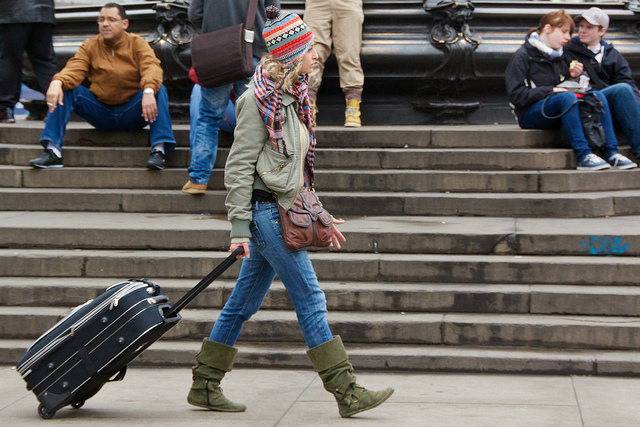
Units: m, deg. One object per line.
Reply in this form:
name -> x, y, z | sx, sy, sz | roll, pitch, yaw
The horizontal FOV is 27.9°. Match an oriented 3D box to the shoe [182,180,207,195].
shoe -> -1.500, -0.317, 15.407 | 0.289, 0.168, 0.130 | 6, 5, 7

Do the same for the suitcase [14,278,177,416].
suitcase -> -2.217, 1.395, 12.945 | 1.734, 0.733, 1.152 | -39, -9, 5

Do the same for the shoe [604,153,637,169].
shoe -> 3.681, -0.640, 15.765 | 0.396, 0.143, 0.156 | 2, 8, 16

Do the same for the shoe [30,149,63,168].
shoe -> -3.324, -0.688, 15.878 | 0.187, 0.221, 0.497 | 8, 11, 43

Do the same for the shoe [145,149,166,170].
shoe -> -2.018, -0.674, 15.810 | 0.220, 0.240, 0.192 | -1, 8, -9

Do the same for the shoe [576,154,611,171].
shoe -> 3.327, -0.644, 15.619 | 0.418, 0.153, 0.169 | 0, 1, 26

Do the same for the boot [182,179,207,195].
boot -> -1.504, -0.316, 15.407 | 0.296, 0.173, 0.130 | 7, 5, 6

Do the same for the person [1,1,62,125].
person -> -3.944, -2.184, 17.331 | 0.983, 1.716, 0.935 | 3, -23, -4

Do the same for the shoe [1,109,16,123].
shoe -> -4.147, -1.326, 17.280 | 0.156, 0.173, 0.250 | 3, 8, 16
